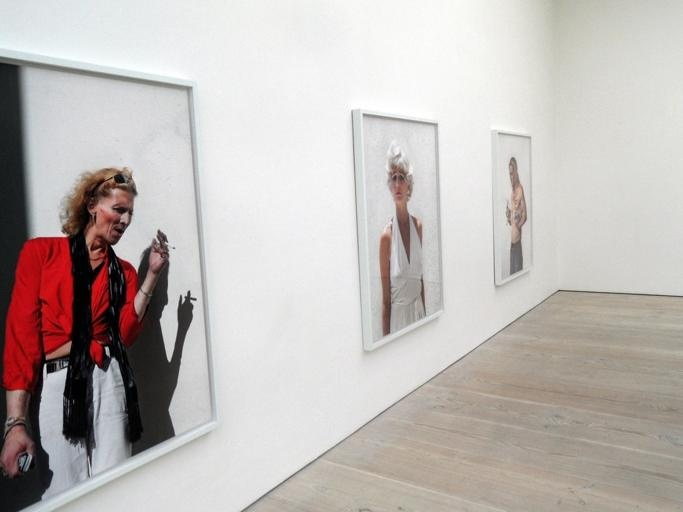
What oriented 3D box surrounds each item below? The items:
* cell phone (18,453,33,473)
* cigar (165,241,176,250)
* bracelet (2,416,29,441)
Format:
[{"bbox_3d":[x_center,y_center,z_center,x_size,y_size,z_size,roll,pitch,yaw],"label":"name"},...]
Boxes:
[{"bbox_3d":[-1.330,0.869,2.058,0.053,0.084,0.006,-8,9,-36],"label":"cell phone"},{"bbox_3d":[-0.875,-0.053,2.509,0.023,0.039,0.012,-27,9,-38],"label":"cigar"},{"bbox_3d":[-1.349,0.716,2.019,0.063,0.058,0.062,4,-6,-6],"label":"bracelet"}]
